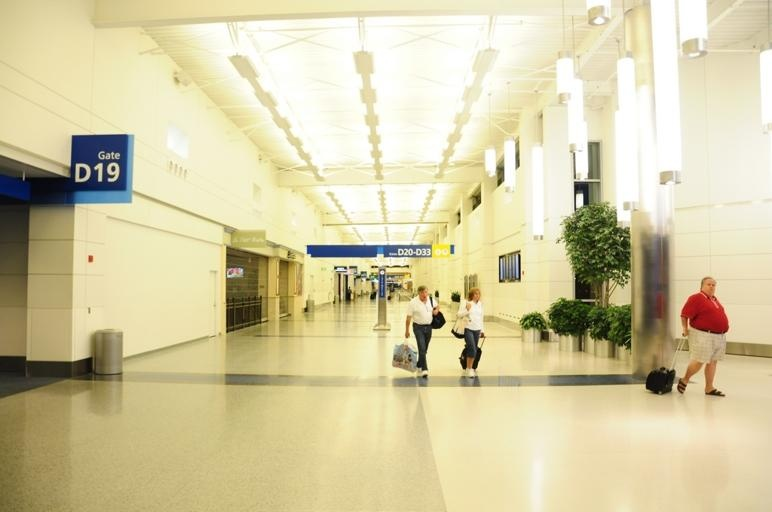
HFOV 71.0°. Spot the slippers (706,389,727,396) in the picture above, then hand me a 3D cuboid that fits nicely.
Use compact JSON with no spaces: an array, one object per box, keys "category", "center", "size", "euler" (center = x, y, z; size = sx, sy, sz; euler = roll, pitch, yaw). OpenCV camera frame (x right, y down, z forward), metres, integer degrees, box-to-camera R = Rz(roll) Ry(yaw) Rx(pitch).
[{"category":"slippers","center":[6.138,2.536,10.091],"size":[0.286,0.075,0.121],"euler":[-4,-2,18]}]

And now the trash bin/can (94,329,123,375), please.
[{"category":"trash bin/can","center":[-6.227,2.161,12.135],"size":[0.569,0.935,0.499],"euler":[-3,7,-18]}]

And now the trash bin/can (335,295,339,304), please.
[{"category":"trash bin/can","center":[-4.468,3.971,48.793],"size":[0.484,0.860,0.847],"euler":[2,0,0]}]

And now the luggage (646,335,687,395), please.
[{"category":"luggage","center":[5.253,2.015,10.360],"size":[0.574,1.113,0.499],"euler":[4,11,-16]}]

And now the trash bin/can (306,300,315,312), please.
[{"category":"trash bin/can","center":[-4.497,2.975,32.284],"size":[0.415,0.680,0.834],"euler":[-3,8,-18]}]

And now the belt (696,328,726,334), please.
[{"category":"belt","center":[5.960,1.400,9.895],"size":[0.500,0.102,0.084],"euler":[0,7,6]}]
